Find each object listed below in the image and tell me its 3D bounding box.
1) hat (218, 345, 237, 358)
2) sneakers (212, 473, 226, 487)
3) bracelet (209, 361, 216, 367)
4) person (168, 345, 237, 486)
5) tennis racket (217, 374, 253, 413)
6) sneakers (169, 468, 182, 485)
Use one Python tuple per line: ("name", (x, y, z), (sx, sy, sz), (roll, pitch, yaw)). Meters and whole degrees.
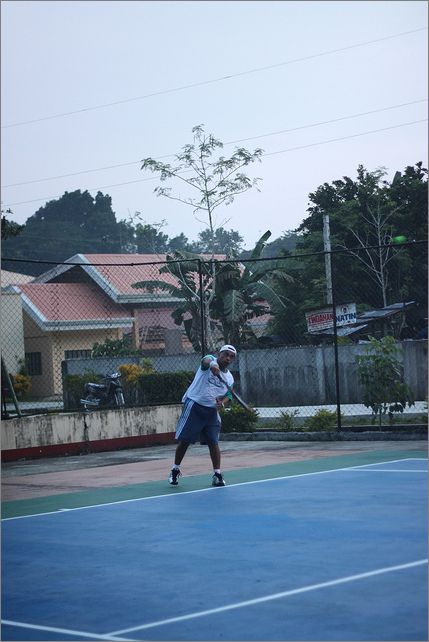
("hat", (0.160, 0.324, 8.394), (0.131, 0.122, 0.161), (7, -14, -12))
("sneakers", (0.043, 1.713, 8.238), (0.146, 0.148, 0.234), (-5, -4, -2))
("bracelet", (-0.020, 0.475, 8.374), (0.068, 0.060, 0.065), (2, -12, -1))
("person", (-0.149, 1.066, 8.641), (0.862, 1.534, 0.971), (-5, -3, -1))
("tennis racket", (0.234, 0.757, 8.188), (0.259, 0.398, 0.670), (-4, -4, -15))
("sneakers", (-0.438, 1.716, 8.495), (0.085, 0.096, 0.214), (6, 39, -5))
